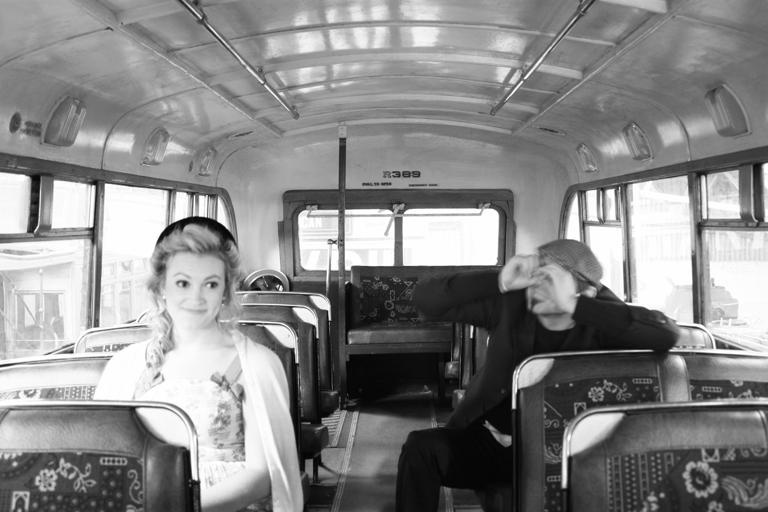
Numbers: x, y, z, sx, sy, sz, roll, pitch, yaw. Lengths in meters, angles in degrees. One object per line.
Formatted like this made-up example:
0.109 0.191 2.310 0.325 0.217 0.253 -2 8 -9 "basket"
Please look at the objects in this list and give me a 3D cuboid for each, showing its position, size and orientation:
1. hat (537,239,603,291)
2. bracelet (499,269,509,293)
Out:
1.224 0.003 3.933 0.393 0.335 0.286 32 -7 -21 "hat"
0.769 0.177 3.766 0.047 0.130 0.096 2 -2 18 "bracelet"
